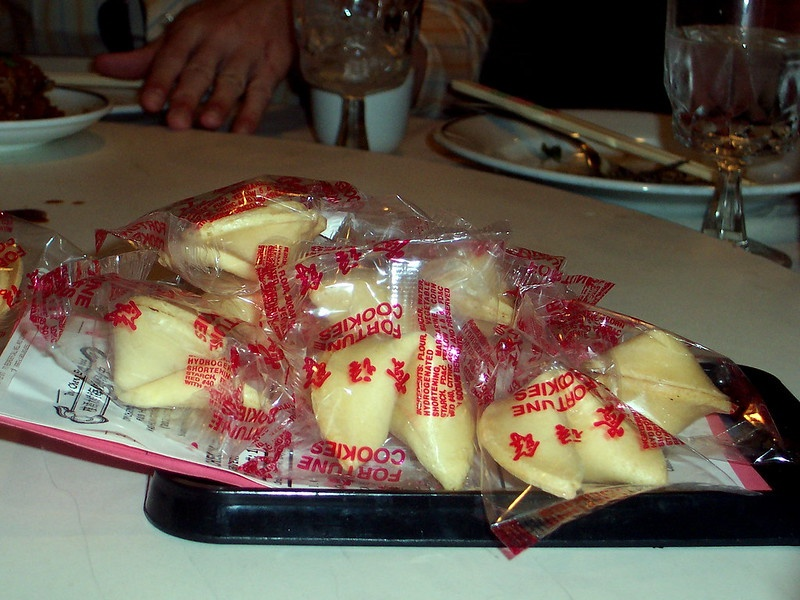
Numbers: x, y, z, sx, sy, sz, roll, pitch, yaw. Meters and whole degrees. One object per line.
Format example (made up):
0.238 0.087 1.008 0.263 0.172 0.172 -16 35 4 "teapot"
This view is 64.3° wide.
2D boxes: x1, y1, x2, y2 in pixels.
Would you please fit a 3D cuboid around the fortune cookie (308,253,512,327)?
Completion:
0.013 0.001 0.388 0.089 0.018 0.056 -2 41 -6 "fortune cookie"

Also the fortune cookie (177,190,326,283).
-0.093 -0.036 0.405 0.089 0.031 0.040 -13 49 -17 "fortune cookie"

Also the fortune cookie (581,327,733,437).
0.161 0.031 0.386 0.067 0.018 0.073 25 38 29 "fortune cookie"

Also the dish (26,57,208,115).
-0.366 -0.281 0.837 0.165 0.042 0.179 4 25 -27 "dish"

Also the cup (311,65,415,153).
-0.042 -0.231 0.736 0.118 0.088 0.116 3 25 -2 "cup"

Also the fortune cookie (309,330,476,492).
-0.003 0.057 0.354 0.088 0.023 0.102 -8 53 -8 "fortune cookie"
